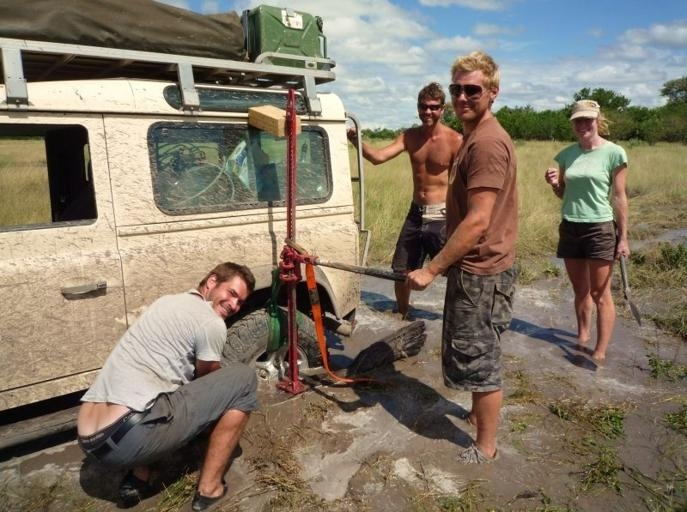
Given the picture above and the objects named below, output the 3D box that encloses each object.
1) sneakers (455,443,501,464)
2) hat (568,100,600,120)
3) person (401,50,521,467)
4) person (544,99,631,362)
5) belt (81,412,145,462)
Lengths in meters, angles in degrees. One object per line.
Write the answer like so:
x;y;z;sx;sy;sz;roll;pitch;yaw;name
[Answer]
0.978;1.454;3.345;0.226;0.074;0.144;2;2;4;sneakers
2.460;-1.509;4.663;0.260;0.216;0.272;2;12;26;hat
0.881;0.062;3.212;0.600;2.908;0.637;1;11;20;person
2.578;-0.277;4.847;0.519;2.715;0.797;-11;13;-35;person
-1.367;1.074;2.839;0.112;0.241;0.303;22;36;20;belt
